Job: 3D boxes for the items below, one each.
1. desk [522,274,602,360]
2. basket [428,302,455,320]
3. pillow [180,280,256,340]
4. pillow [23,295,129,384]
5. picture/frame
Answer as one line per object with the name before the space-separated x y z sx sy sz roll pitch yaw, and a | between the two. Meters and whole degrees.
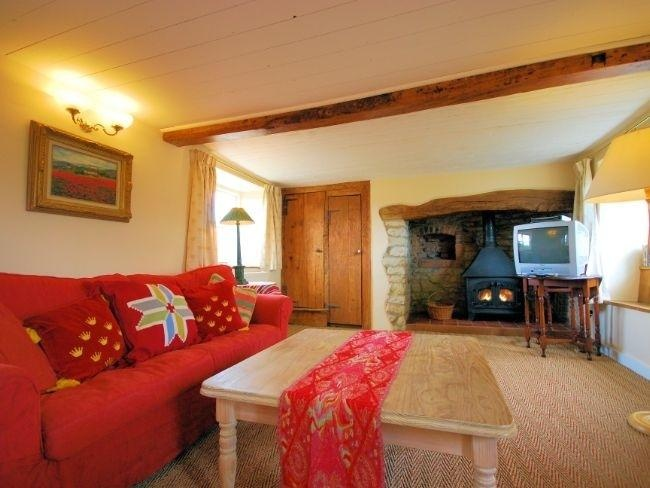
desk | 2.488 0.759 4.726 0.995 0.906 0.881 -3 -8 33
basket | 1.597 0.954 5.784 0.326 0.216 0.226 -1 12 10
pillow | -0.847 0.503 3.314 0.142 0.423 0.491 -36 -14 37
pillow | -1.526 0.583 2.546 0.149 0.449 0.490 -28 2 32
picture/frame | -1.983 -0.582 3.335 0.162 0.768 0.986 -3 -6 33
